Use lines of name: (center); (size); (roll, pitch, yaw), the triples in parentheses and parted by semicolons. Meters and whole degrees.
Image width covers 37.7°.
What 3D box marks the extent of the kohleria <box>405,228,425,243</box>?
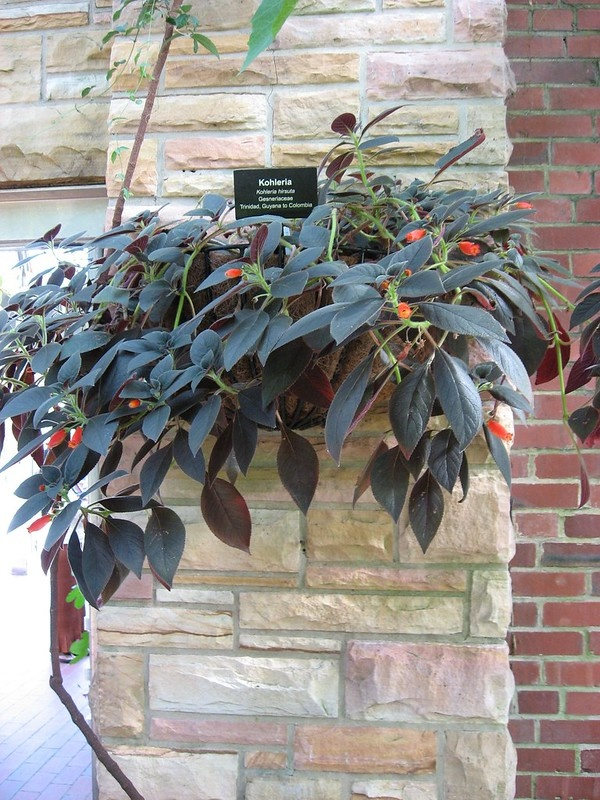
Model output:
kohleria: (0.126, -0.184, 0.986); (0.018, 0.011, 0.032); (-11, 5, -10)

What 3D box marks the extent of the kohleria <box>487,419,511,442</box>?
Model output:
kohleria: (0.250, 0.040, 1.109); (0.022, 0.025, 0.028); (-32, -23, 10)

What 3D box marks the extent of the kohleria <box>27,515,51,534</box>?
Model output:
kohleria: (-0.304, 0.149, 1.018); (0.015, 0.013, 0.043); (-39, 5, -38)
